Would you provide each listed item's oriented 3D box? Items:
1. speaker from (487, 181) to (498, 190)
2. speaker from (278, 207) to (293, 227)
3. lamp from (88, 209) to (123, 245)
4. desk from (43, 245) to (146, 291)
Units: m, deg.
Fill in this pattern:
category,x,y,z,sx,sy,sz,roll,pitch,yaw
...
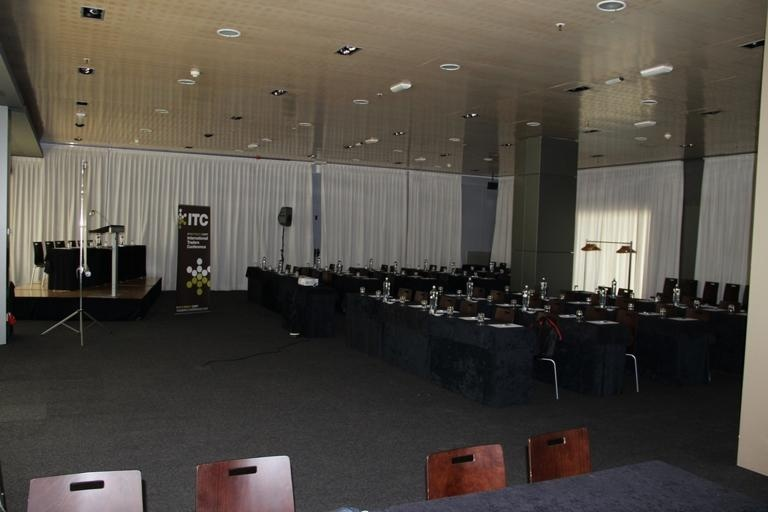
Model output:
category,x,y,z,sx,sy,sz,roll,pitch,yaw
speaker,4.104,-2.790,20.812,0.270,0.356,0.521,-2,7,-7
speaker,-3.134,-1.264,17.238,0.385,0.574,0.475,-1,7,-20
lamp,-7.782,-0.786,15.089,1.048,1.127,1.134,-1,2,-24
desk,-7.425,0.194,14.011,3.506,0.833,0.518,-3,0,20
